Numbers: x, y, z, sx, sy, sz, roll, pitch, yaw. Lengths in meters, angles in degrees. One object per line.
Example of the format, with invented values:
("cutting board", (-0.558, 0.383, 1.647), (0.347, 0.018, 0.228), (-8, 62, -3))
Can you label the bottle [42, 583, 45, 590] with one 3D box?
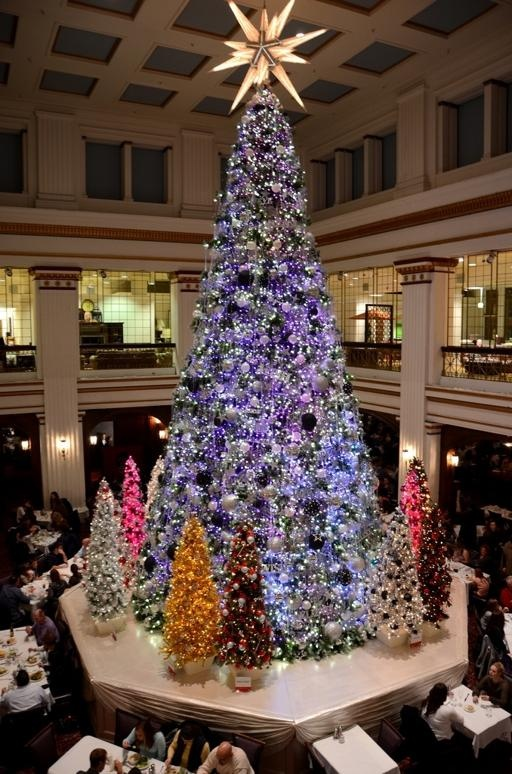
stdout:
("bottle", (-2.877, 2.716, 7.632), (0.030, 0.057, 0.030), (1, -5, 0))

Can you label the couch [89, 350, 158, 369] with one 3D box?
("couch", (-3.131, -0.643, 13.038), (1.773, 0.497, 0.393), (-2, 2, -35))
